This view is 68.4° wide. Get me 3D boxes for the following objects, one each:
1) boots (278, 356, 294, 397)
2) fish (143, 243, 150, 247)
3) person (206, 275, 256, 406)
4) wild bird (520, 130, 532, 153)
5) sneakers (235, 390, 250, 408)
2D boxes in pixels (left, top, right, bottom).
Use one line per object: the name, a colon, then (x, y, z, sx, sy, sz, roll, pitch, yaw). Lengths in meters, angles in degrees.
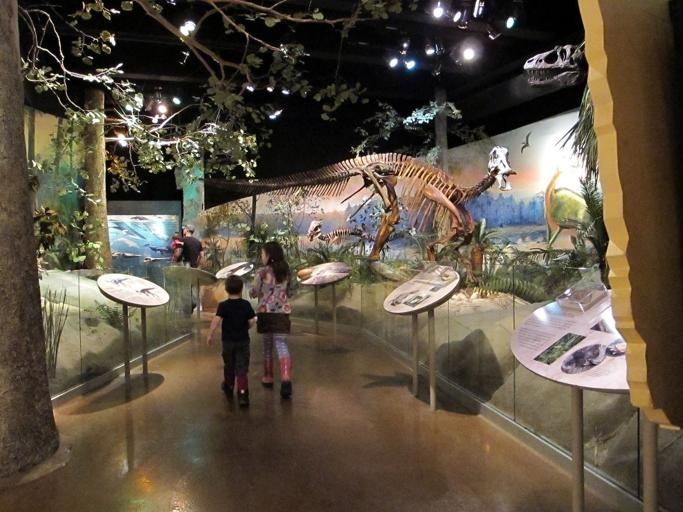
boots: (-0.546, 1.088, 4.827, 0.164, 0.355, 0.491, 1, 2, -8)
fish: (-4.377, -0.241, 11.319, 0.114, 0.061, 0.014, -1, 6, -9)
person: (-0.974, 0.732, 4.543, 0.406, 1.138, 0.686, -2, 6, -11)
wild bird: (3.255, -2.006, 8.887, 0.069, 0.354, 0.241, -2, 6, -13)
sneakers: (-0.855, 1.230, 4.351, 0.079, 0.101, 0.238, 1, -12, -9)
